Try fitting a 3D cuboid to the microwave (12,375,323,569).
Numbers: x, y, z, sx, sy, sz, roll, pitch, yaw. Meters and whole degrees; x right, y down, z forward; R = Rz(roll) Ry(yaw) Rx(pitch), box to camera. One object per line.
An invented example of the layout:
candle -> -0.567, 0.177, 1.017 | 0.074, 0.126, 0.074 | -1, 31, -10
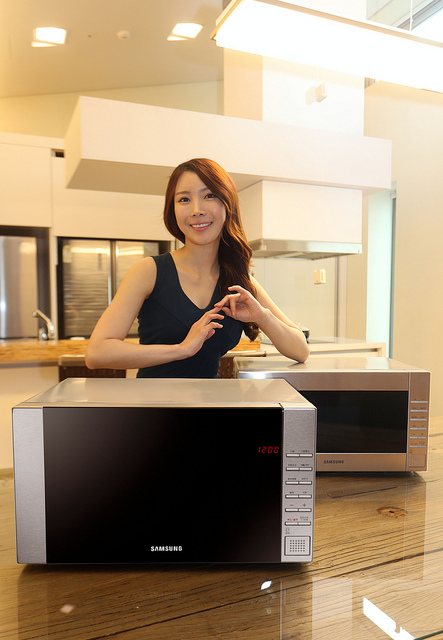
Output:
microwave -> -0.059, 0.099, 0.589 | 0.260, 0.132, 0.177 | 0, 0, -3
